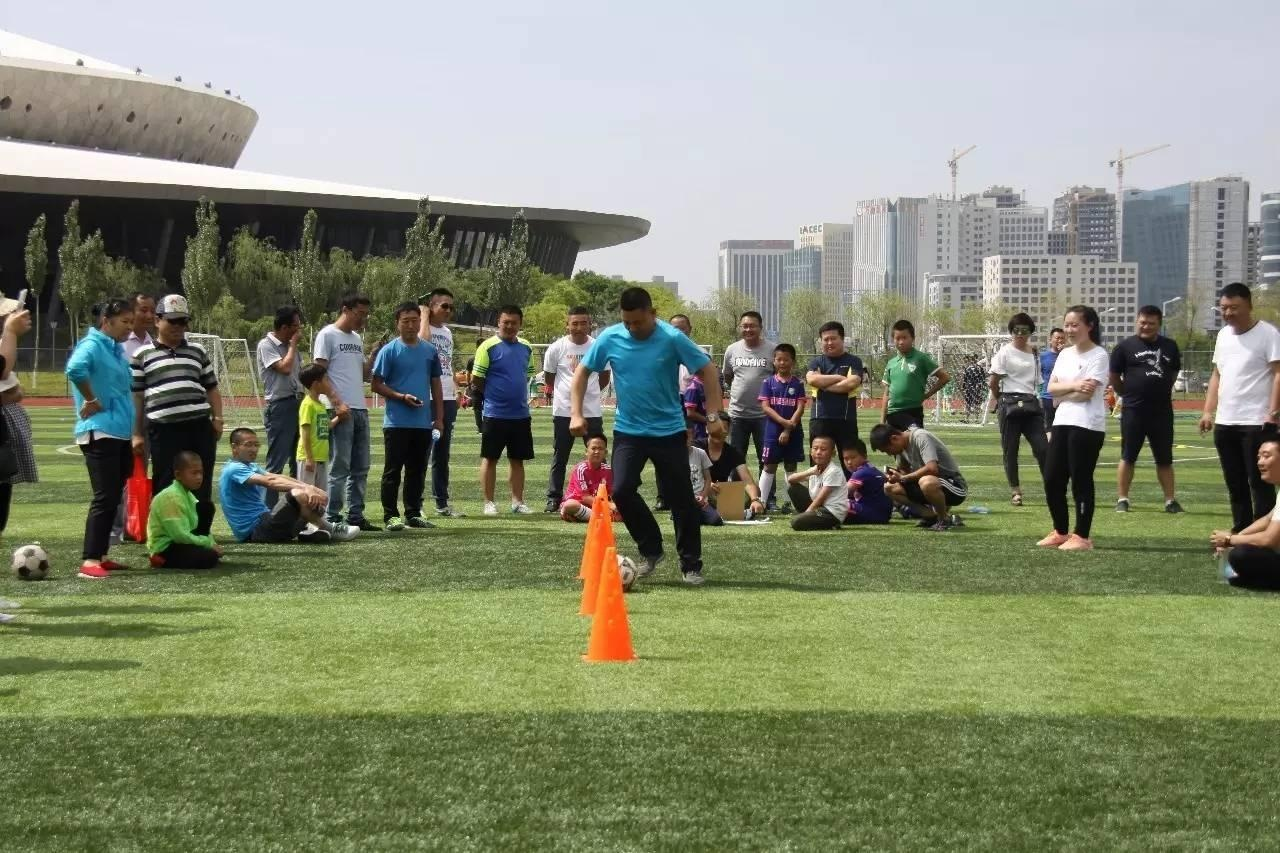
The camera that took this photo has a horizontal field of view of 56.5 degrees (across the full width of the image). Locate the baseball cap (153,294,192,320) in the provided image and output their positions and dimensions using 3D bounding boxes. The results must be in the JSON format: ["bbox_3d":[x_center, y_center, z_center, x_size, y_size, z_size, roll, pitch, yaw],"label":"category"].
[{"bbox_3d":[-4.016,-1.041,10.240,0.229,0.200,0.459,-3,8,-24],"label":"baseball cap"}]

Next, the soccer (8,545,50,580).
[{"bbox_3d":[-4.812,1.084,9.393,0.235,0.280,0.254,-4,9,-32],"label":"soccer"}]

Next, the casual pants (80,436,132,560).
[{"bbox_3d":[-4.378,0.587,9.748,0.362,1.032,0.499,-1,8,-13],"label":"casual pants"}]

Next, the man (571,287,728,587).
[{"bbox_3d":[0.045,0.080,9.357,1.163,2.352,0.713,1,7,0],"label":"man"}]

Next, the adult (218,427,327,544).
[{"bbox_3d":[-3.621,0.609,11.582,1.192,1.182,0.980,-2,0,-15],"label":"adult"}]

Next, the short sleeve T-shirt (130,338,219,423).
[{"bbox_3d":[-4.011,-0.379,10.224,0.787,0.736,0.423,0,-10,-33],"label":"short sleeve T-shirt"}]

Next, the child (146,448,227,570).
[{"bbox_3d":[-3.877,0.690,10.065,0.576,0.975,0.268,0,7,-6],"label":"child"}]

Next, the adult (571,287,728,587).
[{"bbox_3d":[0.038,0.079,9.365,1.158,2.352,0.737,1,7,2],"label":"adult"}]
